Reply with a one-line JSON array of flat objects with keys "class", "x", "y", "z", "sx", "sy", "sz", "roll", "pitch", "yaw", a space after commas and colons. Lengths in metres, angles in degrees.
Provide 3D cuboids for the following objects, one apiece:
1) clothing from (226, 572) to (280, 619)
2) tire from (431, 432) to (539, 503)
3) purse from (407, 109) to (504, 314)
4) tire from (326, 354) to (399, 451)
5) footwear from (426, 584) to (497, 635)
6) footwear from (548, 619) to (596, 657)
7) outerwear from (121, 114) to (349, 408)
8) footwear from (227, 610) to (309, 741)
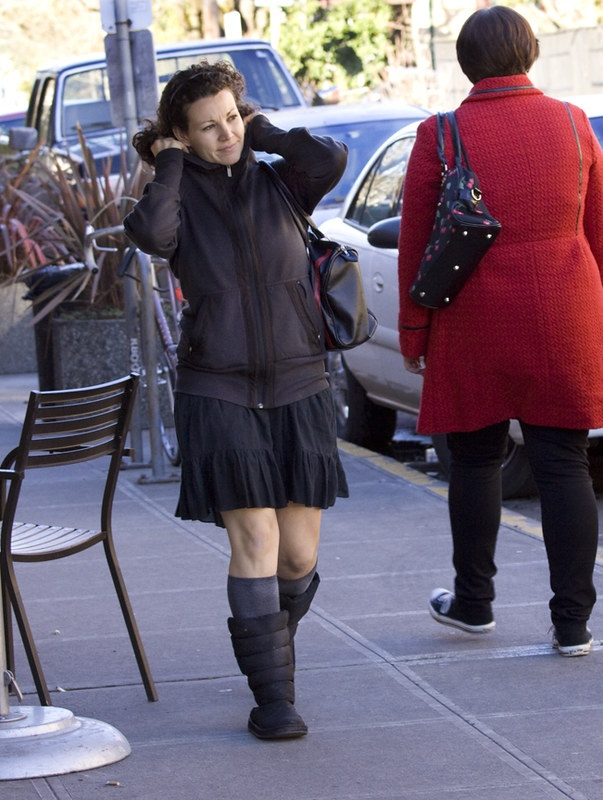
[{"class": "clothing", "x": -0.112, "y": 0.481, "z": 2.472, "sx": 0.189, "sy": 0.112, "sz": 0.100, "roll": -2, "pitch": 3, "yaw": 7}, {"class": "tire", "x": 1.142, "y": 0.386, "z": 5.413, "sx": 0.540, "sy": 0.439, "sz": 0.148, "roll": -1, "pitch": 18, "yaw": 20}, {"class": "purse", "x": 0.470, "y": -0.557, "z": 2.938, "sx": 0.178, "sy": 0.443, "sz": 0.499, "roll": 7, "pitch": 39, "yaw": -13}, {"class": "tire", "x": 0.396, "y": -0.002, "z": 6.343, "sx": 0.256, "sy": 0.598, "sz": 0.697, "roll": -18, "pitch": -18, "yaw": 31}, {"class": "footwear", "x": 0.530, "y": 0.699, "z": 3.339, "sx": 0.100, "sy": 0.092, "sz": 0.244, "roll": -4, "pitch": 15, "yaw": -37}, {"class": "footwear", "x": 0.829, "y": 0.726, "z": 2.982, "sx": 0.074, "sy": 0.064, "sz": 0.152, "roll": -2, "pitch": -1, "yaw": 9}, {"class": "outerwear", "x": -0.178, "y": -0.297, "z": 2.443, "sx": 0.493, "sy": 0.636, "sz": 0.229, "roll": -3, "pitch": 6, "yaw": -14}, {"class": "footwear", "x": -0.081, "y": 0.676, "z": 2.409, "sx": 0.177, "sy": 0.311, "sz": 0.112, "roll": -3, "pitch": 6, "yaw": -5}]
